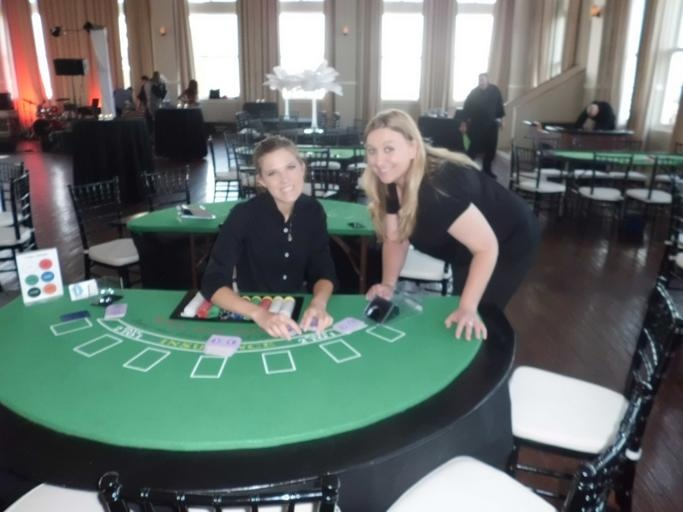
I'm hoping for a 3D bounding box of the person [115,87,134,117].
[{"bbox_3d":[-5.105,-3.610,10.957,0.429,0.602,1.354,-10,20,-23],"label":"person"}]

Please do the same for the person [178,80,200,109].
[{"bbox_3d":[-3.454,-3.608,10.489,0.423,0.565,0.785,-8,19,-17],"label":"person"}]

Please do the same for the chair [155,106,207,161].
[{"bbox_3d":[-3.342,-2.647,10.019,1.040,0.943,1.065,-1,20,-2],"label":"chair"}]

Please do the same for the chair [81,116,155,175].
[{"bbox_3d":[-3.204,-1.455,6.513,1.030,0.823,0.538,-11,20,-25],"label":"chair"}]

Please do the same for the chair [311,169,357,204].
[{"bbox_3d":[-0.055,-0.614,4.096,0.414,0.300,0.410,2,12,1],"label":"chair"}]

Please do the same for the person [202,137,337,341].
[{"bbox_3d":[-0.302,-0.114,2.078,0.543,0.816,0.744,-4,17,-24],"label":"person"}]
